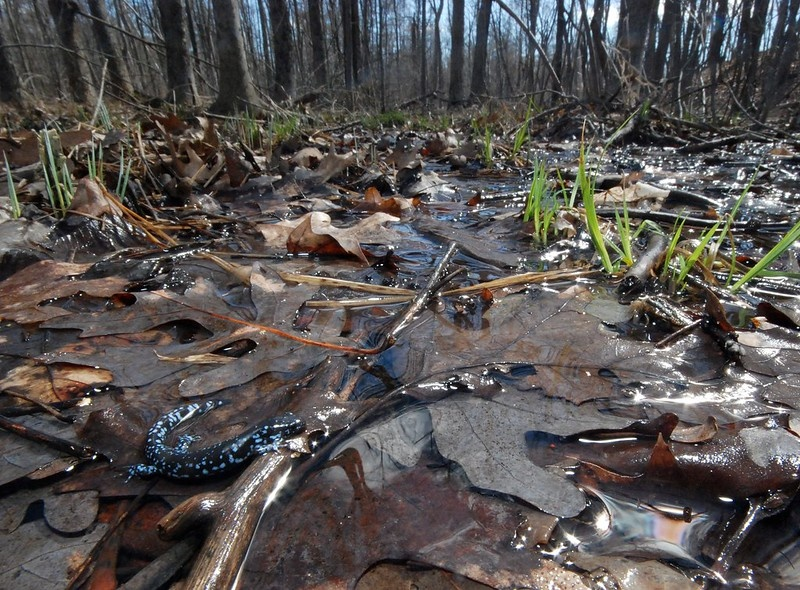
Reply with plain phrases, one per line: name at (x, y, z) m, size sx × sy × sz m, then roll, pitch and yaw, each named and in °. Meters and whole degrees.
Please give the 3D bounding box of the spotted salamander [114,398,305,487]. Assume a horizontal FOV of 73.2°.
spotted salamander at (-0.699, 0.532, 1.999) m, size 0.430 × 0.066 × 0.307 m, roll -6°, pitch 14°, yaw -18°
